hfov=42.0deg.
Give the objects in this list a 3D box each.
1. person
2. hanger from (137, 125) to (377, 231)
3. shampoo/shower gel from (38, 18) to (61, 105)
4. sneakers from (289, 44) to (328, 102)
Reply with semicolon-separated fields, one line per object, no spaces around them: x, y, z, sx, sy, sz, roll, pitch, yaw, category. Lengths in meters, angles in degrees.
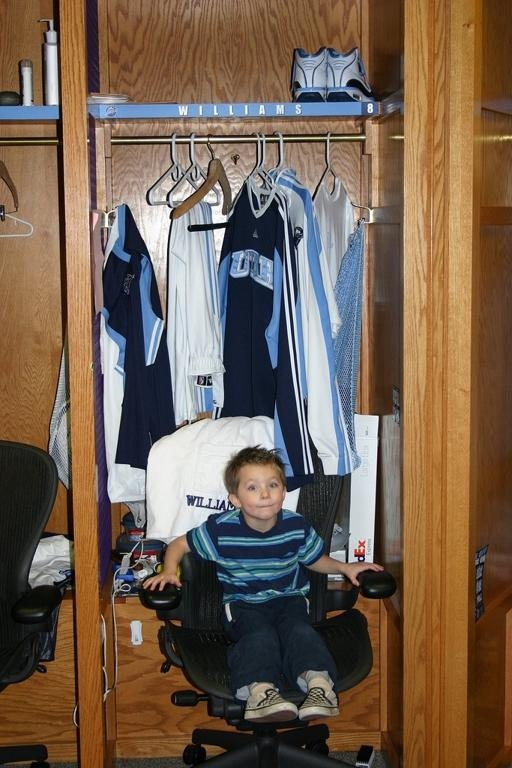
0.035;0.441;1.531;0.485;0.511;0.697;2;2;-8;person
-0.046;-0.619;1.998;0.756;0.328;0.421;-4;6;-15;hanger
-0.589;-0.927;1.909;0.057;0.236;0.051;-1;4;3;shampoo/shower gel
0.154;-0.898;1.931;0.102;0.177;0.120;-1;5;5;sneakers
